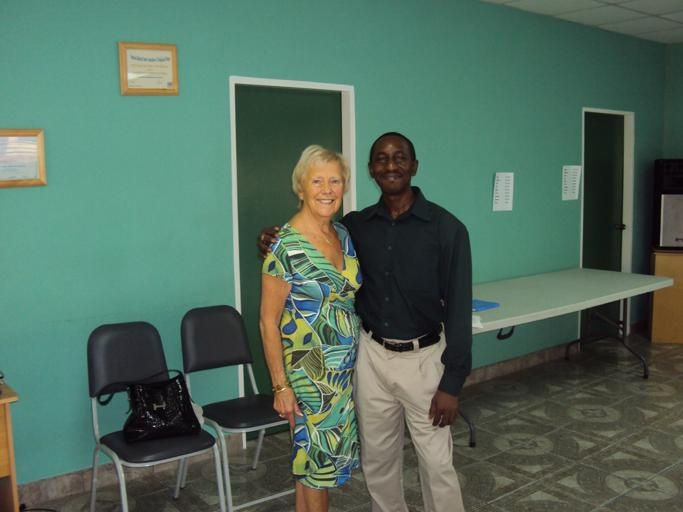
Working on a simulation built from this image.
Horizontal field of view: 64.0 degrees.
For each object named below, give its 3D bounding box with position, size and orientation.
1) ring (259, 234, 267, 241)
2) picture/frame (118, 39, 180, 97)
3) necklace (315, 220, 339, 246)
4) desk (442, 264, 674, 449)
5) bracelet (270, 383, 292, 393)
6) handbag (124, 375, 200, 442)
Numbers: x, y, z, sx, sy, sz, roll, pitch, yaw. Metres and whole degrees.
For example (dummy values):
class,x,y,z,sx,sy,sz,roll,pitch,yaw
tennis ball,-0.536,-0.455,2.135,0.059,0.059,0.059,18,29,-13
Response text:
class,x,y,z,sx,sy,sz,roll,pitch,yaw
ring,-0.354,-0.080,2.475,0.035,0.014,0.034,-23,9,4
picture/frame,-1.260,-1.209,3.519,0.428,0.352,0.041,-1,3,-35
necklace,-0.052,-0.099,2.508,0.079,0.103,0.033,-4,-1,-44
desk,1.772,0.437,4.845,2.647,0.379,1.063,-7,10,-35
bracelet,-0.271,0.591,2.425,0.081,0.055,0.037,2,10,25
handbag,-1.044,0.879,3.105,0.415,0.342,0.178,-2,-2,-41
